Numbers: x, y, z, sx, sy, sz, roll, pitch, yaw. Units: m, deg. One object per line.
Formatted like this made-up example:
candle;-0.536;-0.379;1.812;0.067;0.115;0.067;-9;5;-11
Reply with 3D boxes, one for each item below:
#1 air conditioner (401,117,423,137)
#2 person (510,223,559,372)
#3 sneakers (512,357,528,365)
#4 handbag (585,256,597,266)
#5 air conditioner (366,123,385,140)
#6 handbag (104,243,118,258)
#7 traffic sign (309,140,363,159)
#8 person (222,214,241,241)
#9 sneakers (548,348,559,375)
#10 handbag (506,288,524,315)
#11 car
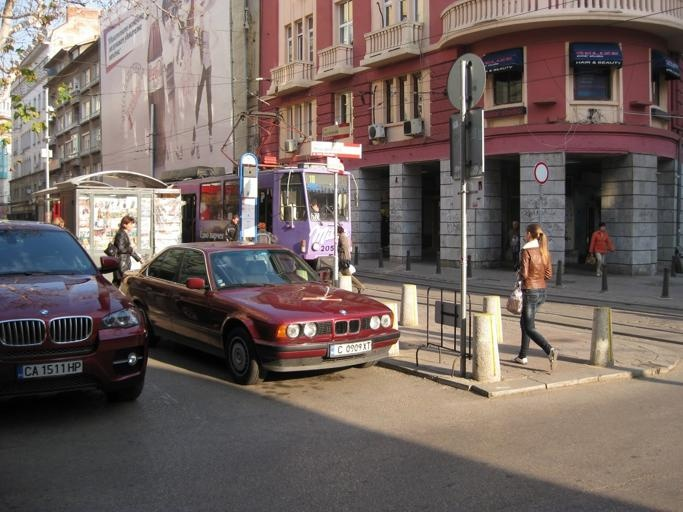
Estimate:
air conditioner;3.072;-5.476;27.044;0.895;0.652;0.374;3;4;42
person;2.932;0.561;9.680;0.578;2.103;0.788;1;3;17
sneakers;2.697;1.562;9.658;0.081;0.103;0.233;-1;4;-24
handbag;9.256;0.160;23.687;0.413;0.486;0.277;-3;4;30
air conditioner;1.565;-5.622;28.854;0.534;0.777;0.993;0;1;-21
handbag;-5.258;-0.138;14.619;0.332;0.317;0.110;31;29;35
traffic sign;-0.146;-2.427;14.384;0.958;0.511;1.620;1;3;10
person;-3.467;-0.910;20.203;0.397;0.700;1.183;0;3;-7
sneakers;3.078;1.503;9.346;0.126;0.396;0.156;-17;17;-38
handbag;2.593;0.661;9.501;0.221;0.385;0.155;0;3;0
car;-1.464;0.668;9.448;1.744;1.267;3.646;4;1;-42
